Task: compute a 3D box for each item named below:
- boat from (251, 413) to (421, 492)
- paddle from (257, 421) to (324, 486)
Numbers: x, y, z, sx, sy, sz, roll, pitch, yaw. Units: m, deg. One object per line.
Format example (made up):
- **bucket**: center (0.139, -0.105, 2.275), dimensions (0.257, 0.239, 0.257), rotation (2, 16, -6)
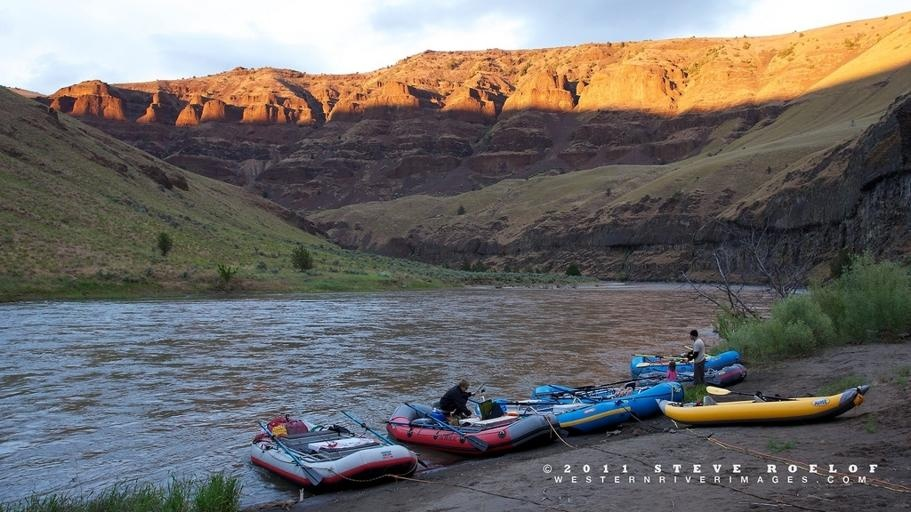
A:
- **boat**: center (-9.156, 14.369, 56.085), dimensions (9.273, 2.028, 5.797), rotation (4, 4, 39)
- **paddle**: center (-11.848, 14.470, 56.318), dimensions (9.327, 0.908, 0.977), rotation (28, -7, 44)
